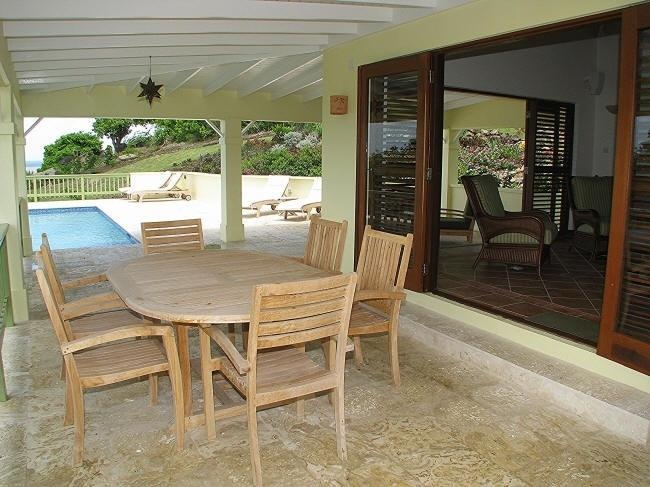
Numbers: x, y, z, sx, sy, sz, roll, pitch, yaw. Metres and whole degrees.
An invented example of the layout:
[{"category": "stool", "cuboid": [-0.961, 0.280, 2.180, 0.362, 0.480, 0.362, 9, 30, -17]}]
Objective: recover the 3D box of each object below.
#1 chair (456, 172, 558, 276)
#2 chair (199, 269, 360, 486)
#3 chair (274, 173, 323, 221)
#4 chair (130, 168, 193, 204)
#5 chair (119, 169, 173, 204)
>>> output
[{"category": "chair", "cuboid": [2.642, -0.345, 6.221, 1.228, 0.999, 0.910, 11, 20, 31]}, {"category": "chair", "cuboid": [-0.295, 0.680, 2.606, 0.713, 1.112, 0.712, -8, 17, -30]}, {"category": "chair", "cuboid": [-0.440, -1.220, 12.692, 1.079, 0.905, 1.868, 6, 12, 33]}, {"category": "chair", "cuboid": [-6.067, -2.068, 16.349, 2.125, 0.839, 1.354, -2, 12, -22]}, {"category": "chair", "cuboid": [-6.637, -2.118, 16.696, 2.042, 0.994, 1.305, -4, 15, -26]}]
